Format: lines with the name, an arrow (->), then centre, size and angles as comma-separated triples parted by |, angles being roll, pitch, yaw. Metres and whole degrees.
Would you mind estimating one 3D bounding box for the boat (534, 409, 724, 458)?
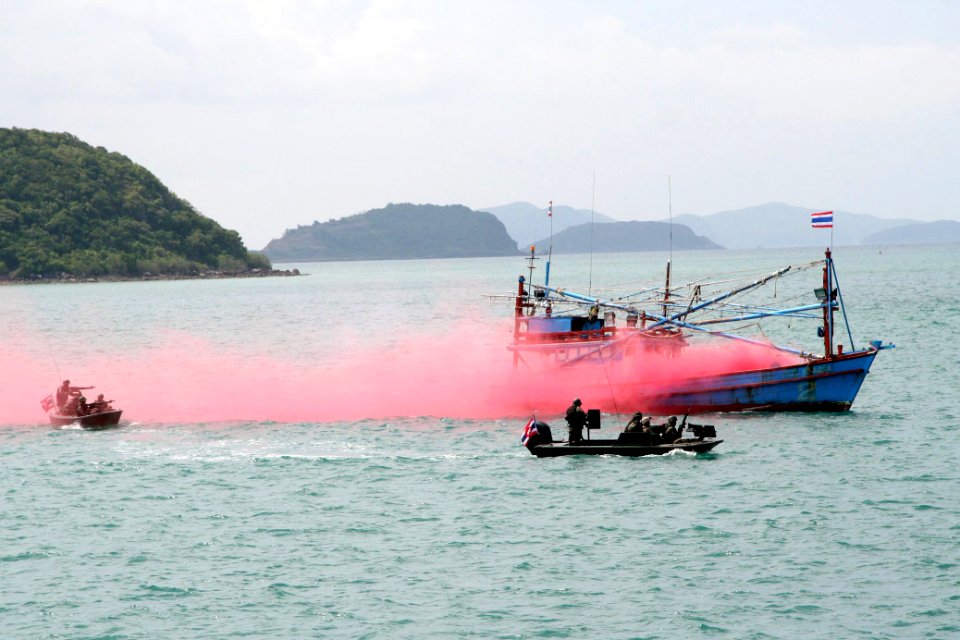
boat -> 10.164, 8.582, 97.913 | 11.675, 2.241, 4.545 | -2, 0, 2
